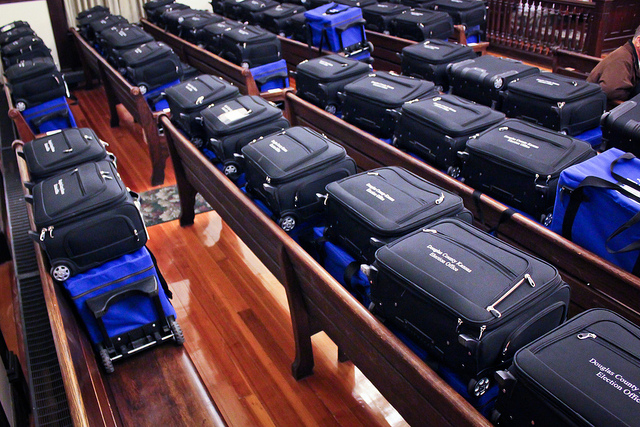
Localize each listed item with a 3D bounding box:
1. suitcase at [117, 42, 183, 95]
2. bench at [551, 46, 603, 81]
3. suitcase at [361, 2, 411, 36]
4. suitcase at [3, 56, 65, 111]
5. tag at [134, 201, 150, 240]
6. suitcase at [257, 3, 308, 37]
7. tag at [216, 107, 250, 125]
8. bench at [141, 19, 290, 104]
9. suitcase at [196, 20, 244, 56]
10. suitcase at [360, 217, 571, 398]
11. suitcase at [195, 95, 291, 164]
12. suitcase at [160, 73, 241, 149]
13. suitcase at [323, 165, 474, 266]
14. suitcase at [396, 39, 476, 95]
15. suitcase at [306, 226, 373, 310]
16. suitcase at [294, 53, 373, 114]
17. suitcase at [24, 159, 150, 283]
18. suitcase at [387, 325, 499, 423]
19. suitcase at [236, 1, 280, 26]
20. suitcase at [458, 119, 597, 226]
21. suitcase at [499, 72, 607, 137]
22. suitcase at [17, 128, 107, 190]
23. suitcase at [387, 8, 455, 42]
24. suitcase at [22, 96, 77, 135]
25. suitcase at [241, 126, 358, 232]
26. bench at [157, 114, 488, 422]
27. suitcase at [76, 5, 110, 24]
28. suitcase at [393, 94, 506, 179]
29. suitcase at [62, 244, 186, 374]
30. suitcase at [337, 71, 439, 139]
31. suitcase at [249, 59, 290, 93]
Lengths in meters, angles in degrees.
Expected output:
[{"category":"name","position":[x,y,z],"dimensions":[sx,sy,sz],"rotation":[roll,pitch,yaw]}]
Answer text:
[{"category":"suitcase","position":[-2.074,-1.819,5.369],"dimensions":[0.814,0.464,0.879],"rotation":[-9,38,-6]},{"category":"bench","position":[2.786,-1.586,4.915],"dimensions":[0.488,0.299,0.246],"rotation":[10,12,-2]},{"category":"suitcase","position":[0.925,-2.724,6.102],"dimensions":[0.556,0.338,0.621],"rotation":[-20,37,-27]},{"category":"suitcase","position":[-3.105,-1.357,4.983],"dimensions":[0.596,0.448,0.619],"rotation":[-16,47,-23]},{"category":"tag","position":[-1.332,0.066,3.298],"dimensions":[0.055,0.355,0.049],"rotation":[-11,7,23]},{"category":"suitcase","position":[-0.580,-2.900,6.596],"dimensions":[0.577,0.354,0.628],"rotation":[-23,41,-25]},{"category":"tag","position":[-0.686,-0.756,3.441],"dimensions":[0.185,0.046,0.135],"rotation":[-20,43,-22]},{"category":"bench","position":[-1.701,-2.107,6.038],"dimensions":[2.093,0.504,0.437],"rotation":[32,64,22]},{"category":"suitcase","position":[-1.293,-2.323,6.115],"dimensions":[0.674,0.392,0.574],"rotation":[-26,42,-34]},{"category":"suitcase","position":[0.714,0.412,2.192],"dimensions":[0.663,0.488,0.797],"rotation":[-15,28,-22]},{"category":"suitcase","position":[-0.580,-0.708,3.504],"dimensions":[0.607,0.387,0.605],"rotation":[-28,38,-21]},{"category":"suitcase","position":[-1.027,-0.802,4.179],"dimensions":[0.648,0.581,0.749],"rotation":[-23,49,-25]},{"category":"suitcase","position":[0.386,-0.049,2.461],"dimensions":[0.601,0.369,0.607],"rotation":[-21,39,-24]},{"category":"suitcase","position":[1.201,-1.578,4.564],"dimensions":[0.701,0.452,0.692],"rotation":[-21,35,-30]},{"category":"suitcase","position":[0.101,0.324,2.657],"dimensions":[0.388,0.147,0.391],"rotation":[-34,63,-28]},{"category":"suitcase","position":[0.114,-1.355,4.305],"dimensions":[0.637,0.378,0.636],"rotation":[-25,43,-30]},{"category":"suitcase","position":[-1.582,-0.007,3.001],"dimensions":[0.702,0.476,0.818],"rotation":[-28,42,-33]},{"category":"suitcase","position":[0.577,0.778,2.035],"dimensions":[0.340,0.081,0.347],"rotation":[35,3,7]},{"category":"suitcase","position":[-0.929,-3.169,6.940],"dimensions":[0.619,0.351,0.698],"rotation":[-21,39,-28]},{"category":"suitcase","position":[1.361,-0.262,2.997],"dimensions":[0.328,0.658,0.500],"rotation":[-34,43,-17]},{"category":"suitcase","position":[1.884,-0.892,3.615],"dimensions":[0.645,0.351,0.690],"rotation":[-28,36,-29]},{"category":"suitcase","position":[-1.846,-0.386,3.295],"dimensions":[0.538,0.194,0.460],"rotation":[-17,48,-17]},{"category":"suitcase","position":[1.286,-2.447,5.772],"dimensions":[0.518,0.284,0.767],"rotation":[-27,42,-24]},{"category":"suitcase","position":[-2.985,-1.062,4.899],"dimensions":[0.443,0.447,0.432],"rotation":[-24,47,-30]},{"category":"suitcase","position":[-0.131,-0.126,3.143],"dimensions":[0.662,0.530,0.693],"rotation":[-21,41,-24]},{"category":"bench","position":[0.020,0.351,2.716],"dimensions":[0.408,0.666,1.984],"rotation":[-20,46,-26]},{"category":"suitcase","position":[-3.879,-3.415,7.511],"dimensions":[0.483,0.166,0.364],"rotation":[-19,40,-29]},{"category":"suitcase","position":[0.973,-0.683,3.328],"dimensions":[0.639,0.418,0.692],"rotation":[-27,44,-25]},{"category":"suitcase","position":[-1.344,0.559,3.020],"dimensions":[0.486,0.762,0.638],"rotation":[-22,31,-25]},{"category":"suitcase","position":[0.594,-0.985,3.923],"dimensions":[0.736,0.386,0.804],"rotation":[-22,40,-26]},{"category":"suitcase","position":[-0.603,-1.617,5.252],"dimensions":[0.428,0.147,0.431],"rotation":[-22,44,-26]}]
